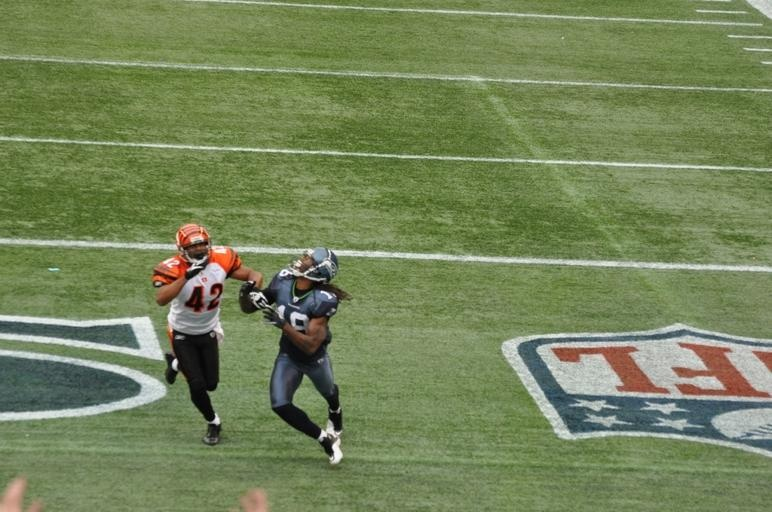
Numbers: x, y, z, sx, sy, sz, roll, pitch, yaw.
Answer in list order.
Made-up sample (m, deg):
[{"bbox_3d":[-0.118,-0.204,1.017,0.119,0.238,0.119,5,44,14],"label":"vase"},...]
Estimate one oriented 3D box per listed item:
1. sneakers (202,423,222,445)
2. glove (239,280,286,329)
[{"bbox_3d":[-2.350,2.432,20.571,0.245,0.136,0.338,4,32,-4],"label":"sneakers"},{"bbox_3d":[-1.634,0.656,20.261,0.379,0.377,0.922,-21,42,-31],"label":"glove"}]
